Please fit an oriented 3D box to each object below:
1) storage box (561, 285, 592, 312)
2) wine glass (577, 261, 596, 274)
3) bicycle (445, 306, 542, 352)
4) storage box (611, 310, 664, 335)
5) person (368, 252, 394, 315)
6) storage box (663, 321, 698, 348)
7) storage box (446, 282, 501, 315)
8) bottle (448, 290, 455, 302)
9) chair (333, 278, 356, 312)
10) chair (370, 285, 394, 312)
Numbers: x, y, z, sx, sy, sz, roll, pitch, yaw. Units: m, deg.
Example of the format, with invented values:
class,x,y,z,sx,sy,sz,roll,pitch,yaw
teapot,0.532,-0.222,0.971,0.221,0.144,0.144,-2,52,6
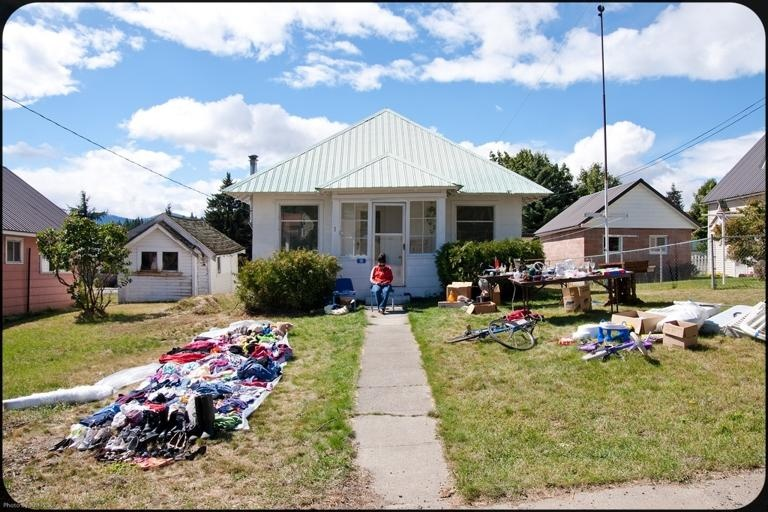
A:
class,x,y,z,sx,sy,sz,roll,pitch,yaw
storage box,5.000,1.052,15.108,0.660,0.676,0.662,0,5,15
wine glass,5.635,0.309,16.290,0.286,0.283,0.282,0,-5,-6
bicycle,2.924,1.688,13.340,1.054,0.898,1.833,-12,-11,37
storage box,5.479,1.439,12.643,1.010,0.449,0.918,-3,-2,17
person,-0.067,0.786,16.872,0.610,1.669,1.087,-2,-1,0
storage box,5.935,1.582,11.784,0.525,0.420,0.532,-1,-1,-23
storage box,2.389,1.155,16.393,0.937,0.589,0.889,-1,-12,2
bottle,1.976,1.163,16.910,0.235,0.341,0.238,-1,-6,0
chair,-1.173,1.218,17.365,0.816,1.192,0.909,-2,-5,8
chair,-0.086,1.265,16.799,0.722,0.993,0.679,1,-26,0
